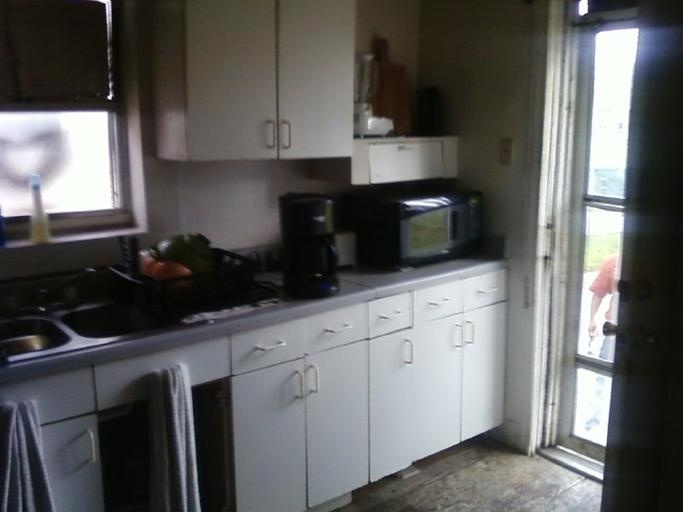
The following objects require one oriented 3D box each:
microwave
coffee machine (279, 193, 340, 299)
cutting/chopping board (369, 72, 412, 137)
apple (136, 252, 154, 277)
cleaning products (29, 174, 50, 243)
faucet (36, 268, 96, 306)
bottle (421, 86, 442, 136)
[{"bbox_3d":[0.417,-0.132,2.920,0.597,0.333,0.377,-13,21,-33],"label":"microwave"},{"bbox_3d":[-0.140,-0.049,2.543,0.238,0.426,0.239,-4,11,-4],"label":"coffee machine"},{"bbox_3d":[0.273,-0.864,3.230,0.256,0.347,0.033,-7,5,-41],"label":"cutting/chopping board"},{"bbox_3d":[-0.797,0.040,2.379,0.032,0.096,0.069,-9,-16,20],"label":"apple"},{"bbox_3d":[-1.261,-0.193,2.423,0.068,0.278,0.103,-9,13,-27],"label":"cleaning products"},{"bbox_3d":[-1.131,0.125,2.432,0.065,0.113,0.251,7,15,42],"label":"faucet"},{"bbox_3d":[0.486,-0.786,3.214,0.115,0.255,0.050,-1,11,10],"label":"bottle"}]
